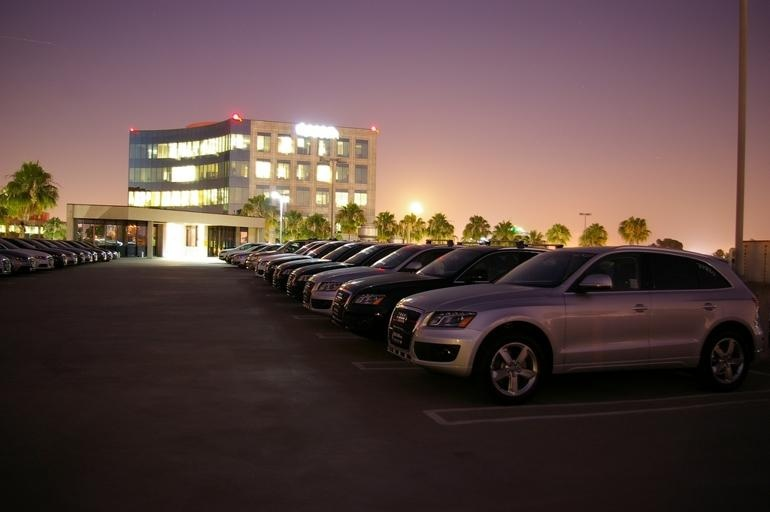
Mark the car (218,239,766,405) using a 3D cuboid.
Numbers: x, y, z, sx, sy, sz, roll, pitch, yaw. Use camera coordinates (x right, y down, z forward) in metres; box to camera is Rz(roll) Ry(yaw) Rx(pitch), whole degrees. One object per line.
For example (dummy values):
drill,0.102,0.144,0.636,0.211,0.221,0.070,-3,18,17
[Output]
car,3.085,1.048,9.241,5.303,1.982,2.585,2,-4,-12
